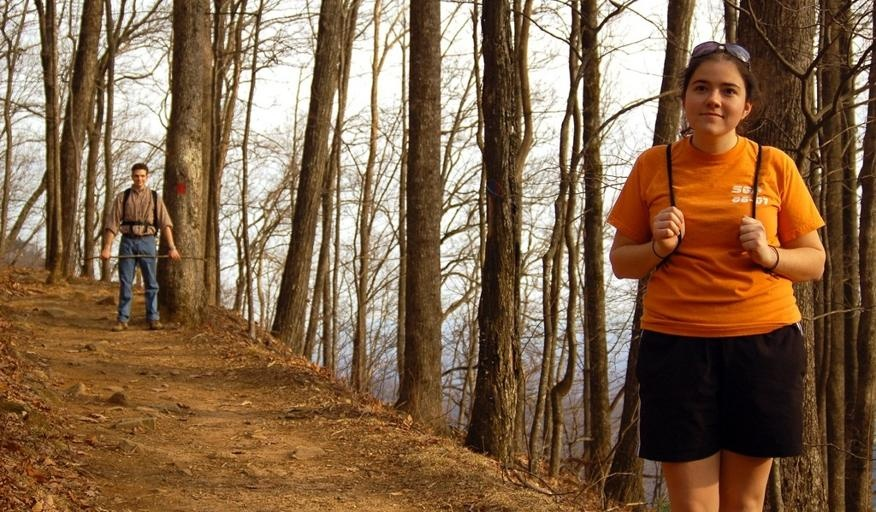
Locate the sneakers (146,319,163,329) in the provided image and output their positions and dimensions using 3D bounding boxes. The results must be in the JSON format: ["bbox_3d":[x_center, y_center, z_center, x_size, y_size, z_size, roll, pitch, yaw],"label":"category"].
[{"bbox_3d":[-6.031,1.463,26.016,0.281,0.265,0.170,-3,-10,13],"label":"sneakers"}]

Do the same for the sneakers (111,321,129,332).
[{"bbox_3d":[-6.732,1.498,25.879,0.151,0.133,0.346,16,-5,18],"label":"sneakers"}]

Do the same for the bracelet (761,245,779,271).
[{"bbox_3d":[5.167,0.042,18.895,0.085,0.323,0.342,7,5,-17],"label":"bracelet"}]
